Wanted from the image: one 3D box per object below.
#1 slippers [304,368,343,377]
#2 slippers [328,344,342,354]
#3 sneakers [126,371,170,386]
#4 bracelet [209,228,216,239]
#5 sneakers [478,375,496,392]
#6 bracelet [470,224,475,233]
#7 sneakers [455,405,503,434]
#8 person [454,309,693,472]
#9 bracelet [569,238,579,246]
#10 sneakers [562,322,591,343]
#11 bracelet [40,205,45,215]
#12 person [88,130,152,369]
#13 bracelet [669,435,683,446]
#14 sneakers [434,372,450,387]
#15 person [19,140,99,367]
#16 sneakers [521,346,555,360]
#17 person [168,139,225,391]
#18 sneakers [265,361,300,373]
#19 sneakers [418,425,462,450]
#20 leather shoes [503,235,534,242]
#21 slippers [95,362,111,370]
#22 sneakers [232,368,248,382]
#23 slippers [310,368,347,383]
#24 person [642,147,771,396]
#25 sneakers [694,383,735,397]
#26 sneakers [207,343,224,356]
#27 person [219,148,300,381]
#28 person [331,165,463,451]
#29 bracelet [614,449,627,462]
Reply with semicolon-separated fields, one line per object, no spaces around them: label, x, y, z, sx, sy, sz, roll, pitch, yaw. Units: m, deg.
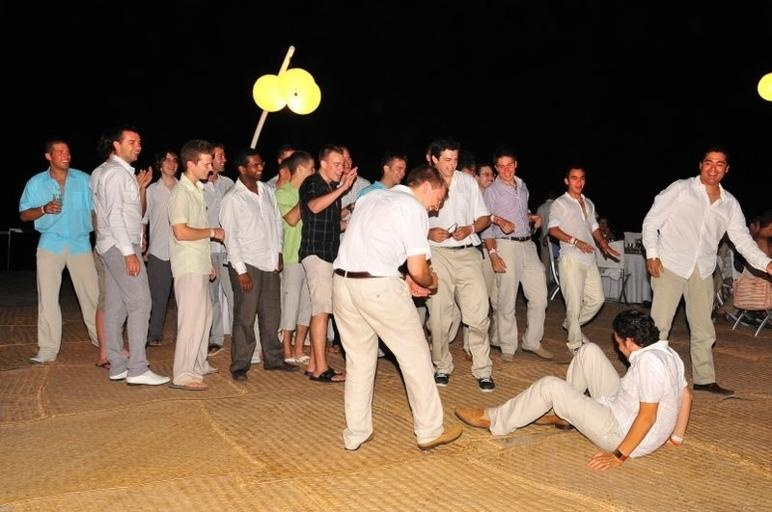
slippers;-0.775;1.427;6.584;0.432;0.116;0.183;-4;-2;5
slippers;-0.741;1.354;7.857;0.084;0.099;0.249;4;-9;-29
sneakers;-2.726;1.414;6.253;0.489;0.192;0.189;0;2;-6
bracelet;-1.964;-0.255;6.067;0.092;0.128;0.048;-1;-14;40
sneakers;1.173;1.496;6.306;0.127;0.125;0.352;0;-10;1
bracelet;1.040;-0.324;6.479;0.021;0.074;0.077;-20;-33;36
sneakers;0.924;1.607;5.331;0.416;0.151;0.170;17;36;10
person;1.726;1.192;5.208;2.126;1.171;1.229;-1;0;38
bracelet;2.548;-0.185;7.298;0.112;0.100;0.048;10;14;40
sneakers;2.767;1.120;7.859;0.124;0.327;0.253;-29;-5;6
bracelet;-4.239;-0.557;6.631;0.088;0.118;0.043;-5;-10;37
person;-3.034;0.009;6.270;0.588;2.922;1.176;-5;13;-29
bracelet;2.674;1.686;4.953;0.091;0.066;0.127;1;-7;11
sneakers;0.688;1.466;6.371;0.176;0.178;0.458;-1;-15;17
person;-4.183;-0.056;6.893;0.820;2.787;0.736;-4;13;-28
sneakers;2.150;1.343;7.586;0.396;0.156;0.147;4;6;27
person;-2.188;0.113;6.124;0.603;2.806;0.626;1;11;-5
sneakers;-1.299;1.385;6.812;0.436;0.171;0.159;-2;-6;4
sneakers;0.502;1.635;4.970;0.355;0.139;0.186;-13;9;-16
leather shoes;1.861;-0.241;7.477;0.465;0.070;0.120;-3;11;-25
slippers;-3.548;1.376;6.756;0.260;0.100;0.093;1;2;30
sneakers;-1.765;1.428;6.482;0.177;0.108;0.161;-1;11;-16
slippers;-0.710;1.435;6.492;0.331;0.107;0.184;-1;0;11
person;3.699;0.173;6.396;1.273;2.825;0.663;2;11;1
sneakers;3.879;1.566;6.393;0.448;0.162;0.165;2;0;17
sneakers;-2.404;1.306;7.531;0.156;0.080;0.114;-5;3;-12
person;-1.586;0.091;6.569;0.804;2.723;0.644;-3;12;-22
person;0.135;0.497;5.030;1.234;2.655;0.888;0;5;-3
bracelet;2.026;1.713;4.647;0.090;0.058;0.080;41;4;-45
